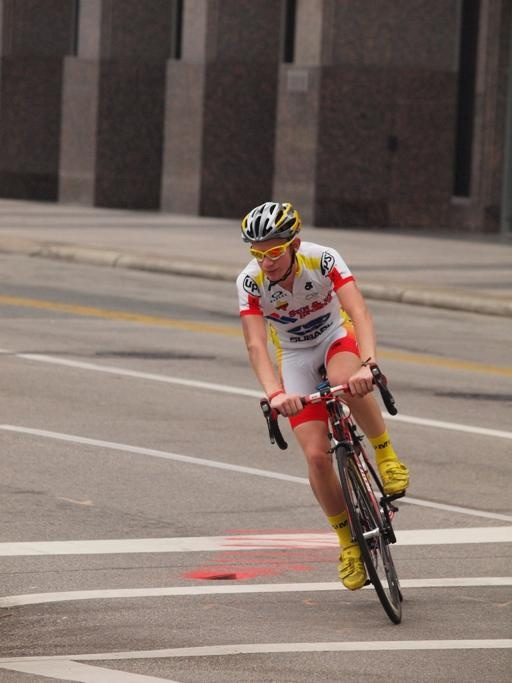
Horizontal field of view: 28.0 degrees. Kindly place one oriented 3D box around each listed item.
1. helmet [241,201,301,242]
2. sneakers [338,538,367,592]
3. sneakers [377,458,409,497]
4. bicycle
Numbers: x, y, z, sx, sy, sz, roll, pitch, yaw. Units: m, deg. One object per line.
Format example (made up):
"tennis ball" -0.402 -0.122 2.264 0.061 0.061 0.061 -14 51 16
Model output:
"helmet" 0.068 -0.527 4.557 0.260 0.137 0.338 -2 14 30
"sneakers" 0.418 0.991 4.580 0.114 0.100 0.246 -7 16 -4
"sneakers" 0.666 0.660 4.995 0.108 0.082 0.221 -4 2 3
"bicycle" 0.517 0.718 5.026 0.774 0.966 1.771 -9 -5 11
